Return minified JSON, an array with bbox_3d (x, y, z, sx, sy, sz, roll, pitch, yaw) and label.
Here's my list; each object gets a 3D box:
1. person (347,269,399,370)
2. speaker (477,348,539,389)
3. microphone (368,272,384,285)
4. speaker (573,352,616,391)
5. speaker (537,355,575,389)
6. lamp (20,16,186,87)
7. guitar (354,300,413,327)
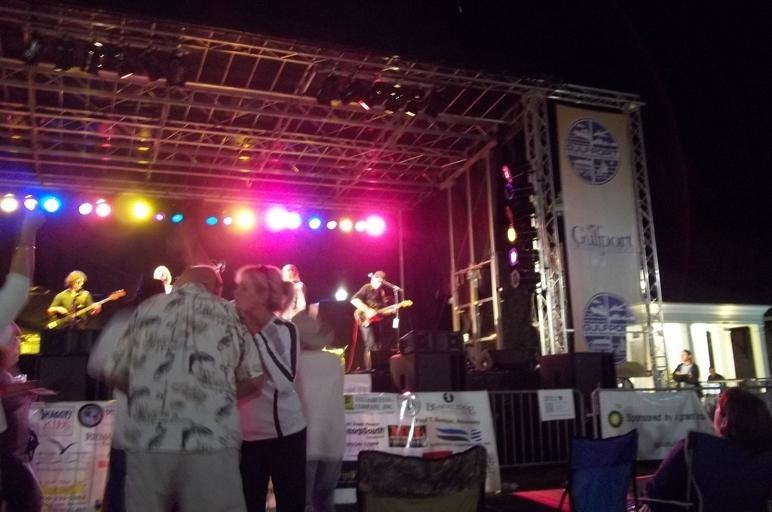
[{"bbox_3d":[-0.324,1.685,14.842,0.939,2.816,1.388,-30,-45,34],"label":"person"},{"bbox_3d":[2.130,2.108,10.693,0.906,0.632,0.861,3,-11,-21],"label":"speaker"},{"bbox_3d":[-0.210,0.534,14.391,0.290,0.202,0.382,19,-21,-25],"label":"microphone"},{"bbox_3d":[3.431,1.932,9.755,0.611,0.556,0.327,0,-4,-3],"label":"speaker"},{"bbox_3d":[2.940,2.002,10.102,0.219,0.600,0.664,5,-8,-28],"label":"speaker"},{"bbox_3d":[-5.448,-3.939,11.510,3.598,0.770,0.495,5,4,10],"label":"lamp"},{"bbox_3d":[-0.044,1.404,14.347,0.886,0.650,1.215,-8,-14,37],"label":"guitar"}]
